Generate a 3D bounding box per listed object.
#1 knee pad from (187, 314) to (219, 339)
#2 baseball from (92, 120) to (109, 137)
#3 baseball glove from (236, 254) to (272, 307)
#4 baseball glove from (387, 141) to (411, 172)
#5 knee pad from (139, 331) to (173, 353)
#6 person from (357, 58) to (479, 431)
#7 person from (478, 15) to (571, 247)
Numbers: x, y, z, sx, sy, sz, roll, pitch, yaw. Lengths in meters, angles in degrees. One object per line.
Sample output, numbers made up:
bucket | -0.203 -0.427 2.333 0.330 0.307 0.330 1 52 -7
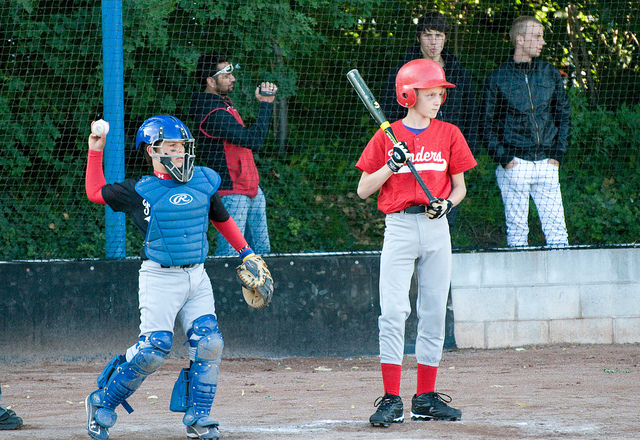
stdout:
knee pad | -1.096 1.049 11.121 0.203 0.144 0.258 27 -40 -27
baseball | -2.080 -0.854 11.159 0.149 0.152 0.149 -3 9 -11
baseball glove | -0.610 0.642 11.361 0.227 0.470 0.328 -33 47 -26
baseball glove | 0.760 -0.590 11.223 0.176 0.282 0.112 41 -11 0
knee pad | -1.523 1.161 11.077 0.241 0.142 0.188 -1 -13 42
person | 0.927 0.217 11.320 1.050 3.443 0.951 -1 9 -3
person | 2.462 -1.035 13.980 1.071 2.696 0.529 0 9 8
